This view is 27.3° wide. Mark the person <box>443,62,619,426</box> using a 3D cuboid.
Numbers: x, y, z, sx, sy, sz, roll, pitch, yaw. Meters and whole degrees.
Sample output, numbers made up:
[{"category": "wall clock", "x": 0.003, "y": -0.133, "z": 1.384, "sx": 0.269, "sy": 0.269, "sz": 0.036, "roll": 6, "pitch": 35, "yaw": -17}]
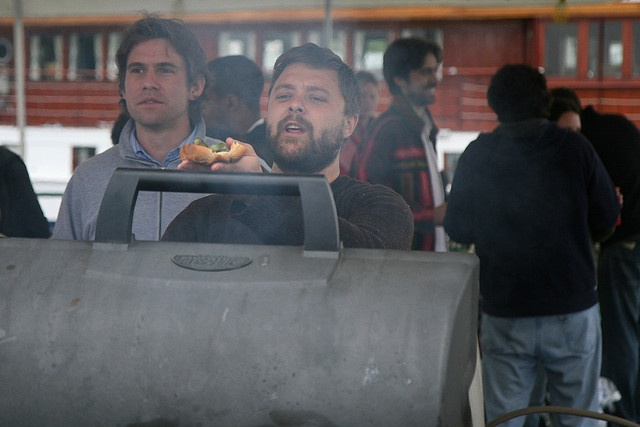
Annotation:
[{"category": "person", "x": 1.076, "y": 0.148, "z": 6.735, "sx": 0.810, "sy": 1.803, "sz": 0.370, "roll": 2, "pitch": 8, "yaw": 34}]

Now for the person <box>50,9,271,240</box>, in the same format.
[{"category": "person", "x": -0.821, "y": -0.325, "z": 6.899, "sx": 1.243, "sy": 1.400, "sz": 0.729, "roll": -4, "pitch": -9, "yaw": 17}]
